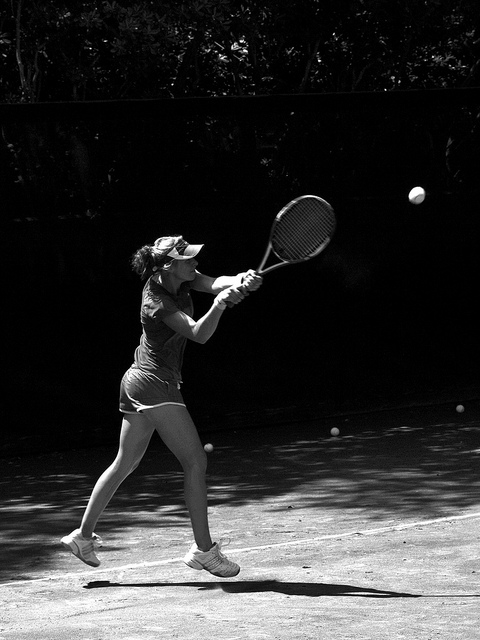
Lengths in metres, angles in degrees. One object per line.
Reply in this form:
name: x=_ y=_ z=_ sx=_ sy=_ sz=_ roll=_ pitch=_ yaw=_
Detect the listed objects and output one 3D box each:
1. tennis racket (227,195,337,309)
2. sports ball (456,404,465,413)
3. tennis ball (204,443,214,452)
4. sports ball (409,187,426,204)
tennis racket: x=0.167 y=-0.343 z=4.768 sx=0.332 sy=0.103 sz=0.898 roll=43 pitch=50 yaw=14
sports ball: x=2.301 y=0.923 z=8.716 sx=0.076 sy=0.080 sz=0.198 roll=-3 pitch=-1 yaw=14
tennis ball: x=-0.260 y=1.090 z=7.182 sx=0.060 sy=0.046 sz=0.062 roll=-6 pitch=1 yaw=0
sports ball: x=1.480 y=-1.042 z=6.984 sx=0.103 sy=0.143 sz=0.368 roll=-3 pitch=-1 yaw=12
